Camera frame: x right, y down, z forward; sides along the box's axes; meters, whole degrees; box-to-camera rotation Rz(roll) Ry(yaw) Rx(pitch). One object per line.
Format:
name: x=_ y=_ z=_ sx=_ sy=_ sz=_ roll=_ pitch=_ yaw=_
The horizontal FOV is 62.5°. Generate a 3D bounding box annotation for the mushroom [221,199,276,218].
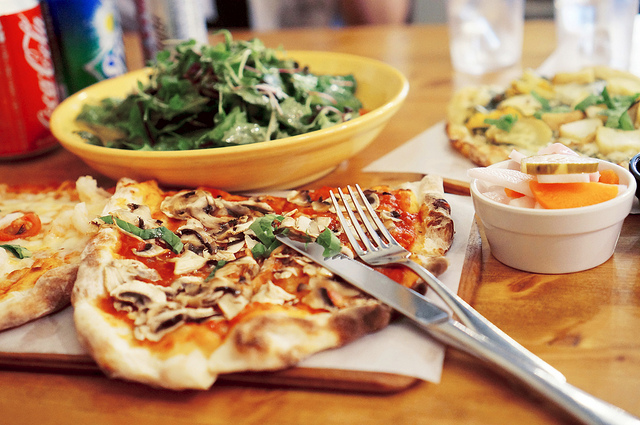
mushroom: x=-0.200 y=-0.008 z=1.472 sx=0.100 sy=0.017 sz=0.066 roll=-1 pitch=21 yaw=-20

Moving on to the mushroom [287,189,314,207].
mushroom: x=-0.057 y=-0.048 z=1.515 sx=0.058 sy=0.016 sz=0.053 roll=-3 pitch=35 yaw=-7

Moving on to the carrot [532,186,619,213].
carrot: x=0.597 y=-0.034 z=1.234 sx=0.105 sy=0.032 sz=0.095 roll=-11 pitch=25 yaw=4

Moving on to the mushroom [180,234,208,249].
mushroom: x=-0.328 y=0.073 z=1.357 sx=0.041 sy=0.011 sz=0.040 roll=29 pitch=14 yaw=7

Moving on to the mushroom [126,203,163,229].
mushroom: x=-0.476 y=0.030 z=1.426 sx=0.089 sy=0.031 sz=0.134 roll=-3 pitch=12 yaw=-7

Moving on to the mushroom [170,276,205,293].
mushroom: x=-0.319 y=0.163 z=1.232 sx=0.046 sy=0.012 sz=0.044 roll=-13 pitch=27 yaw=-10

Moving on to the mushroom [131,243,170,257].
mushroom: x=-0.427 y=0.093 z=1.306 sx=0.062 sy=0.038 sz=0.012 roll=18 pitch=10 yaw=-3

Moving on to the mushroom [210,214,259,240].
mushroom: x=-0.230 y=0.040 z=1.393 sx=0.098 sy=0.025 sz=0.058 roll=9 pitch=25 yaw=35

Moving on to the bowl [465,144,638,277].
bowl: x=0.531 y=-0.011 z=1.322 sx=0.382 sy=0.202 sz=0.341 roll=-6 pitch=20 yaw=-9

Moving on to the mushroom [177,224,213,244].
mushroom: x=-0.321 y=0.052 z=1.376 sx=0.057 sy=0.059 sz=0.027 roll=-38 pitch=9 yaw=13

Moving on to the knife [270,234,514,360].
knife: x=0.152 y=0.203 z=1.209 sx=0.509 sy=0.026 sz=0.060 roll=28 pitch=27 yaw=24

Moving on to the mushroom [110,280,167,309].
mushroom: x=-0.418 y=0.188 z=1.217 sx=0.110 sy=0.031 sz=0.053 roll=19 pitch=15 yaw=-10

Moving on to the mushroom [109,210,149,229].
mushroom: x=-0.501 y=0.014 z=1.406 sx=0.066 sy=0.019 sz=0.065 roll=8 pitch=11 yaw=-7

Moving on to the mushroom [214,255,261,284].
mushroom: x=-0.183 y=0.144 z=1.277 sx=0.126 sy=0.042 sz=0.107 roll=10 pitch=12 yaw=41
